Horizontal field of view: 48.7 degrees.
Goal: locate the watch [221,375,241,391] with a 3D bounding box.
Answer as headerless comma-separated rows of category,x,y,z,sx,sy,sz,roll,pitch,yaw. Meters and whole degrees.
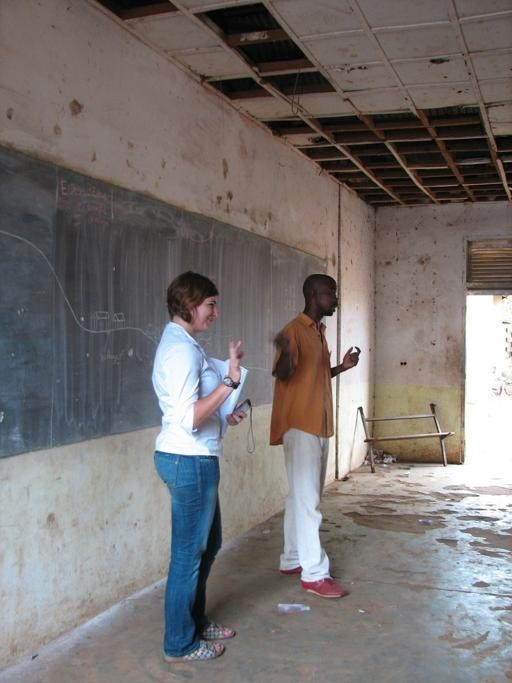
watch,-0.076,0.125,1.693,0.047,0.033,0.050,11,21,-46

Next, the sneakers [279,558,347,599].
sneakers,0.266,1.142,2.781,0.320,0.146,0.116,-2,-3,34

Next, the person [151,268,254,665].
person,-0.199,0.455,1.911,0.306,1.377,0.561,1,-2,-11

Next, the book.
book,-0.097,0.190,1.931,0.066,0.255,0.156,12,-4,-40
